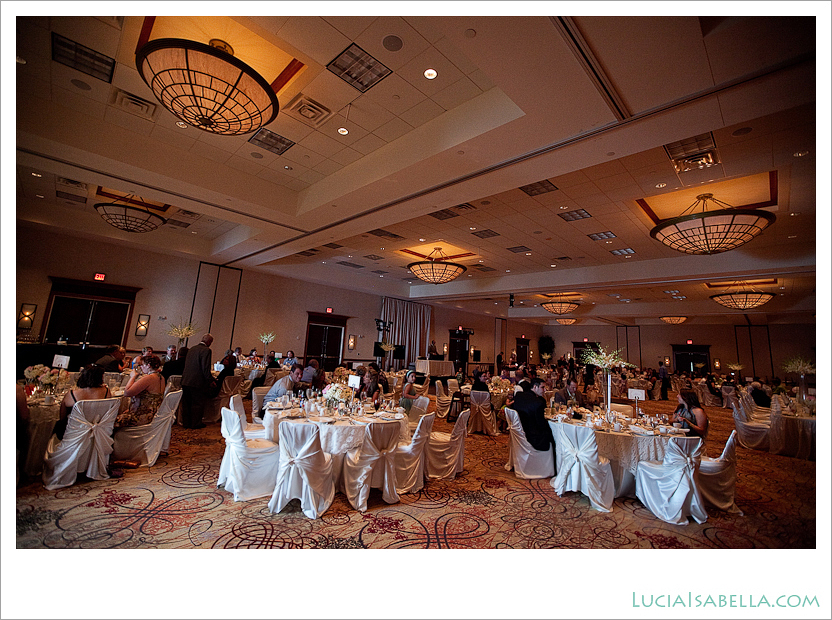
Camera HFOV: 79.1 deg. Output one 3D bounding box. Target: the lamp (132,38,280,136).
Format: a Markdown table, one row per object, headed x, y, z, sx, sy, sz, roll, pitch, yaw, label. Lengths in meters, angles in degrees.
| x | y | z | sx | sy | sz | roll | pitch | yaw | label |
| --- | --- | --- | --- | --- | --- | --- | --- | --- | --- |
| -2.533 | -2.784 | 6.174 | 1.567 | 0.944 | 0.672 | 1 | 5 | -23 | lamp |

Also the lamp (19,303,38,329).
| x | y | z | sx | sy | sz | roll | pitch | yaw | label |
| --- | --- | --- | --- | --- | --- | --- | --- | --- | --- |
| -8.596 | 0.155 | 11.138 | 0.179 | 0.587 | 0.331 | 4 | 5 | 16 | lamp |

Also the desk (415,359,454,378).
| x | y | z | sx | sy | sz | roll | pitch | yaw | label |
| --- | --- | --- | --- | --- | --- | --- | --- | --- | --- |
| 0.547 | 2.275 | 19.280 | 1.038 | 0.524 | 1.062 | -1 | -3 | 24 | desk |

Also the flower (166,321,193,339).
| x | y | z | sx | sy | sz | roll | pitch | yaw | label |
| --- | --- | --- | --- | --- | --- | --- | --- | --- | --- |
| -6.184 | 0.559 | 13.194 | 0.557 | 0.592 | 0.557 | 0 | -16 | 1 | flower |

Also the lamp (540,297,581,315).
| x | y | z | sx | sy | sz | roll | pitch | yaw | label |
| --- | --- | --- | --- | --- | --- | --- | --- | --- | --- |
| 5.511 | -0.132 | 19.150 | 0.928 | 0.398 | 0.940 | -1 | -7 | 8 | lamp |

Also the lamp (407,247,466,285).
| x | y | z | sx | sy | sz | roll | pitch | yaw | label |
| --- | --- | --- | --- | --- | --- | --- | --- | --- | --- |
| 0.528 | -1.172 | 13.181 | 1.368 | 0.961 | 1.678 | 3 | 5 | 2 | lamp |

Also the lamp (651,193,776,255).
| x | y | z | sx | sy | sz | roll | pitch | yaw | label |
| --- | --- | --- | --- | --- | --- | --- | --- | --- | --- |
| 5.130 | -1.845 | 8.837 | 1.393 | 0.810 | 1.431 | -5 | -23 | 25 | lamp |

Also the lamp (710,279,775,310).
| x | y | z | sx | sy | sz | roll | pitch | yaw | label |
| --- | --- | --- | --- | --- | --- | --- | --- | --- | --- |
| 8.736 | -0.437 | 13.530 | 1.349 | 0.621 | 1.445 | 0 | -6 | 1 | lamp |

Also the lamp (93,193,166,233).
| x | y | z | sx | sy | sz | roll | pitch | yaw | label |
| --- | --- | --- | --- | --- | --- | --- | --- | --- | --- |
| -6.129 | -2.079 | 10.842 | 1.193 | 0.705 | 1.324 | 0 | 5 | -30 | lamp |
